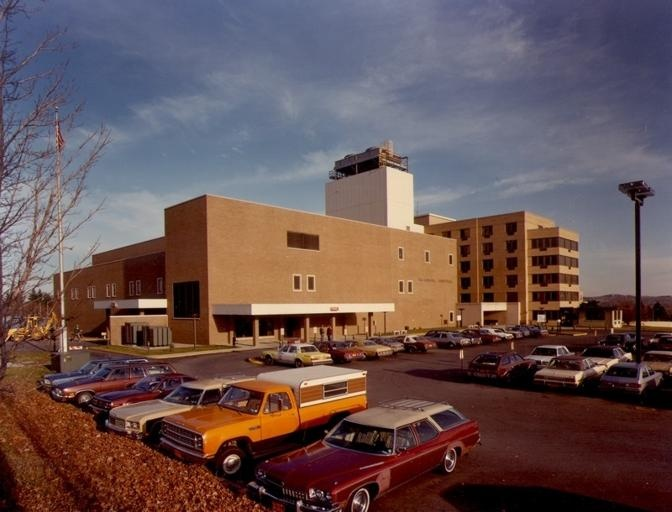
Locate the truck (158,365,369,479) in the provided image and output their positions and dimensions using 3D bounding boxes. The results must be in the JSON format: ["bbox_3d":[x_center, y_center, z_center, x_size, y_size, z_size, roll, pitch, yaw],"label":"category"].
[{"bbox_3d":[-2.017,4.672,16.710,5.088,1.842,2.585,5,-9,-41],"label":"truck"}]

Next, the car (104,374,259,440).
[{"bbox_3d":[-5.001,4.763,17.022,3.521,1.058,2.022,4,-7,-42],"label":"car"}]

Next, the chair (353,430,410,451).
[{"bbox_3d":[1.155,4.591,13.939,0.881,0.302,0.610,1,-3,-15],"label":"chair"}]
